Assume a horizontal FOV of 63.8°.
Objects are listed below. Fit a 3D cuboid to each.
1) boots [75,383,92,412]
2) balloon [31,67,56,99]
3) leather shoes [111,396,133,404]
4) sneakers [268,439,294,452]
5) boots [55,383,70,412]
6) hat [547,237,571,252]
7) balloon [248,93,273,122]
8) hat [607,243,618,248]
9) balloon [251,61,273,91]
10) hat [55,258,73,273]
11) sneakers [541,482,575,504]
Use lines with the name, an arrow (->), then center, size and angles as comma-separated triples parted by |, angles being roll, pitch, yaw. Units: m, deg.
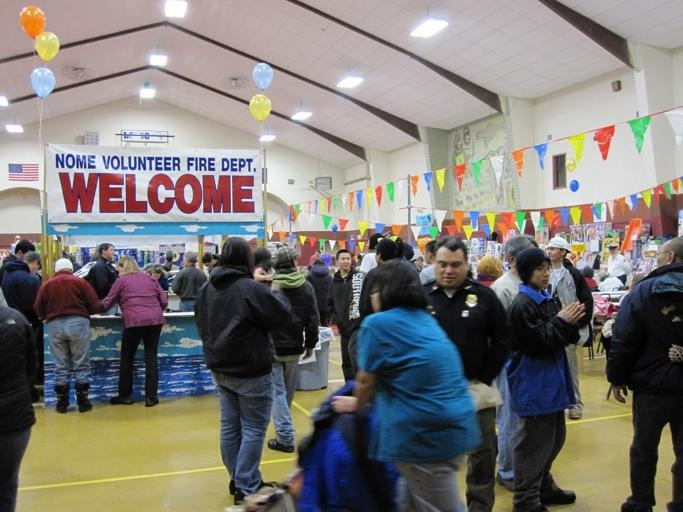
boots -> -3.164, 1.728, 6.765 | 0.163, 0.330, 0.214 | -2, 2, -35
balloon -> -5.507, -3.240, 10.133 | 0.320, 0.553, 0.553 | -2, 3, -31
leather shoes -> -2.804, 1.828, 7.038 | 0.244, 0.097, 0.114 | 5, -5, 2
sneakers -> -0.602, 1.884, 5.493 | 0.283, 0.120, 0.104 | 7, 2, 43
boots -> -3.410, 1.731, 6.720 | 0.147, 0.315, 0.204 | -1, 2, -27
hat -> 2.296, -0.143, 5.703 | 0.228, 0.175, 0.169 | 16, -5, 6
balloon -> -1.706, -3.172, 11.743 | 0.361, 0.596, 0.739 | -1, 2, -3
hat -> 5.902, -0.227, 11.921 | 0.282, 0.094, 0.325 | 1, 3, 20
balloon -> -1.644, -3.764, 11.409 | 0.338, 0.594, 0.847 | -1, 2, -12
hat -> -3.418, 0.112, 6.838 | 0.171, 0.222, 0.228 | -2, 6, -20
sneakers -> 1.744, 1.938, 4.493 | 0.331, 0.139, 0.122 | -2, 1, -2
